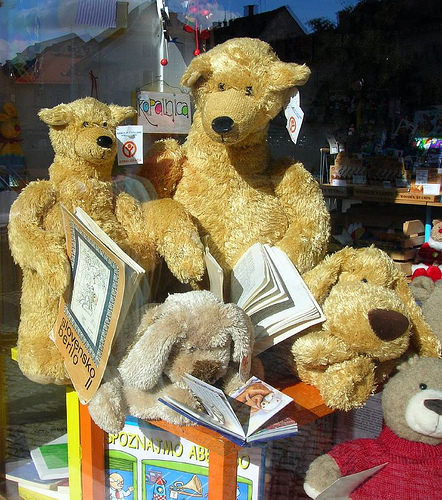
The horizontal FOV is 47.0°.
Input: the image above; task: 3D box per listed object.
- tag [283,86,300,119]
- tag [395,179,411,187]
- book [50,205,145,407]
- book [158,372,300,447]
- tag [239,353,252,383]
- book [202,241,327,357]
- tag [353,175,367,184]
[{"bbox_3d":[0.198,-0.433,1.460,0.018,0.057,0.046,3,7,-32],"label":"tag"},{"bbox_3d":[1.297,-0.479,3.640,0.069,0.068,0.078,9,11,44],"label":"tag"},{"bbox_3d":[-0.297,0.123,1.163,0.153,0.422,0.359,-12,24,-27],"label":"book"},{"bbox_3d":[0.032,0.314,1.075,0.257,0.139,0.190,-10,22,-28],"label":"book"},{"bbox_3d":[0.056,0.271,1.176,0.022,0.062,0.052,8,2,1],"label":"tag"},{"bbox_3d":[0.132,0.103,1.425,0.278,0.133,0.327,-37,34,7],"label":"book"},{"bbox_3d":[0.975,-0.496,3.585,0.085,0.069,0.018,2,2,-12],"label":"tag"}]
